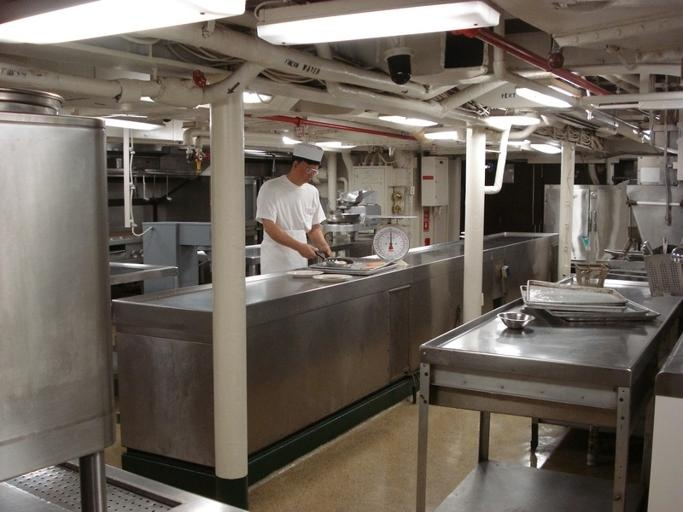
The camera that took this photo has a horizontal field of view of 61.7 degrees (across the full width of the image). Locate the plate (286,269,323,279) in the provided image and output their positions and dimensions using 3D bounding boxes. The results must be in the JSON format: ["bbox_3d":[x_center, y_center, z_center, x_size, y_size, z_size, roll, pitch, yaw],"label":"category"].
[{"bbox_3d":[-0.279,0.135,4.367,0.276,0.034,0.257,0,7,-1],"label":"plate"}]

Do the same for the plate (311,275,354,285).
[{"bbox_3d":[-0.062,0.167,4.172,0.282,0.022,0.218,0,7,-2],"label":"plate"}]

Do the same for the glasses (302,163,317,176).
[{"bbox_3d":[-0.268,-0.689,4.573,0.086,0.114,0.045,-4,-5,-33],"label":"glasses"}]

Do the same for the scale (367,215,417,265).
[{"bbox_3d":[0.427,-0.163,4.884,0.348,0.400,0.331,-3,22,0],"label":"scale"}]

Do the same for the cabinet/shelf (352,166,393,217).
[{"bbox_3d":[0.529,-1.176,10.173,0.725,0.841,0.329,0,8,2],"label":"cabinet/shelf"}]

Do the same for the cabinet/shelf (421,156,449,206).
[{"bbox_3d":[1.666,-1.360,10.306,0.313,0.870,0.892,-2,-4,32],"label":"cabinet/shelf"}]

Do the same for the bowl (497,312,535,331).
[{"bbox_3d":[0.876,0.323,2.838,0.103,0.036,0.099,-1,14,0],"label":"bowl"}]

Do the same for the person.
[{"bbox_3d":[-0.395,-0.399,4.790,0.601,1.059,0.752,0,8,-2],"label":"person"}]
